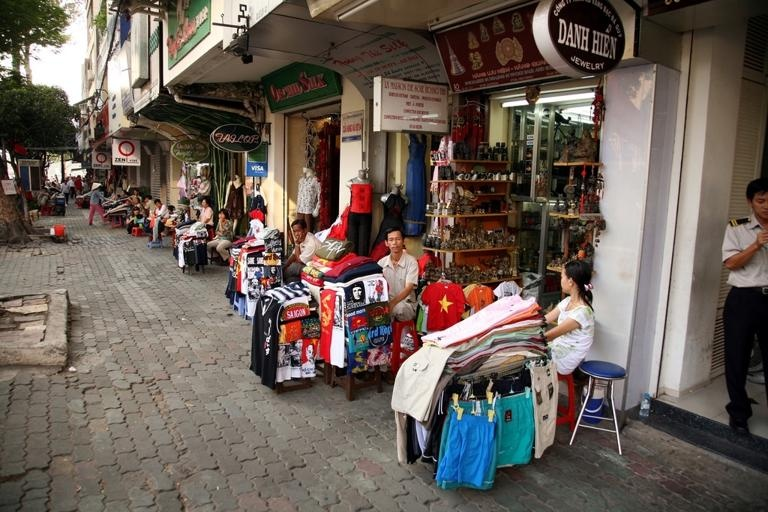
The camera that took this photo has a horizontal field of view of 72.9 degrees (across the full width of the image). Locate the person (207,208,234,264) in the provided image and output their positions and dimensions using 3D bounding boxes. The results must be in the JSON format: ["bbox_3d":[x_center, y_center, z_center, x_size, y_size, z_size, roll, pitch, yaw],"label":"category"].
[{"bbox_3d":[-3.916,-0.468,12.425,0.588,1.357,1.117,-2,9,-24],"label":"person"}]

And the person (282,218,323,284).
[{"bbox_3d":[-1.310,-0.058,8.263,0.532,1.074,1.383,0,8,-12],"label":"person"}]

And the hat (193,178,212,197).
[{"bbox_3d":[-5.543,-2.100,15.898,0.478,0.702,0.860,2,5,-22],"label":"hat"}]

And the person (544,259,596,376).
[{"bbox_3d":[1.945,0.657,5.656,0.658,1.239,0.504,-1,8,-19],"label":"person"}]

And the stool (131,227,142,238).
[{"bbox_3d":[-8.514,-0.836,17.985,0.327,0.269,0.332,11,11,15],"label":"stool"}]

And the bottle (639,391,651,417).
[{"bbox_3d":[2.982,1.691,5.924,0.130,0.257,0.089,4,8,15],"label":"bottle"}]

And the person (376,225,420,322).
[{"bbox_3d":[0.208,0.234,6.592,0.497,1.131,0.570,1,8,-5],"label":"person"}]

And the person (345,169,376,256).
[{"bbox_3d":[-0.407,-0.743,8.827,0.402,1.438,0.244,1,8,-6],"label":"person"}]

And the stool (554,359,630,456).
[{"bbox_3d":[2.331,1.546,5.639,0.522,0.889,0.670,5,8,21],"label":"stool"}]

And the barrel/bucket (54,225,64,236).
[{"bbox_3d":[-9.783,-0.760,15.651,0.292,0.217,0.288,5,19,-2],"label":"barrel/bucket"}]

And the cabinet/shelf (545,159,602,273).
[{"bbox_3d":[2.378,-0.498,6.828,0.550,1.400,1.788,3,8,7],"label":"cabinet/shelf"}]
